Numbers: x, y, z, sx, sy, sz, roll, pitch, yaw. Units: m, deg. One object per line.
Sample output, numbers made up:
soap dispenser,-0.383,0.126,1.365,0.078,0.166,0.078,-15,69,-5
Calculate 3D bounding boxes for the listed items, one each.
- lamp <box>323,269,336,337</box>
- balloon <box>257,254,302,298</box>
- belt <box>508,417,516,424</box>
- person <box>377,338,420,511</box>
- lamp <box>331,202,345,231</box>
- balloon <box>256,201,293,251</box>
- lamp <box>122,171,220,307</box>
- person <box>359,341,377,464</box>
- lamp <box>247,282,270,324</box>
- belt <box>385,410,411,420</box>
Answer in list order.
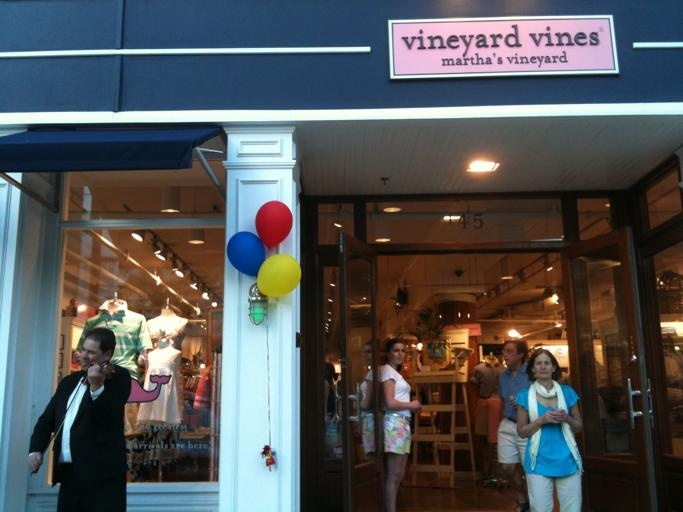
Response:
lamp,-0.130,0.475,6.980,0.194,0.765,0.108,-8,-17,16
balloon,-0.528,0.183,5.384,0.428,0.450,0.556,-4,8,-1
belt,1.856,1.754,6.744,0.095,0.069,0.033,11,27,33
person,0.593,1.704,6.422,0.417,1.713,0.560,-4,-16,0
lamp,-0.035,-0.459,7.209,0.102,0.279,0.077,2,-17,-18
balloon,-0.589,-0.277,5.408,0.334,0.448,0.339,12,-18,-30
lamp,-1.687,-0.160,6.403,0.961,1.403,0.232,-3,-16,-3
person,0.271,1.391,6.120,0.139,1.095,0.311,-10,-18,22
lamp,-0.717,0.418,5.360,0.175,0.348,0.179,1,14,-30
belt,0.580,1.599,6.325,0.267,0.096,0.092,3,-18,-24
